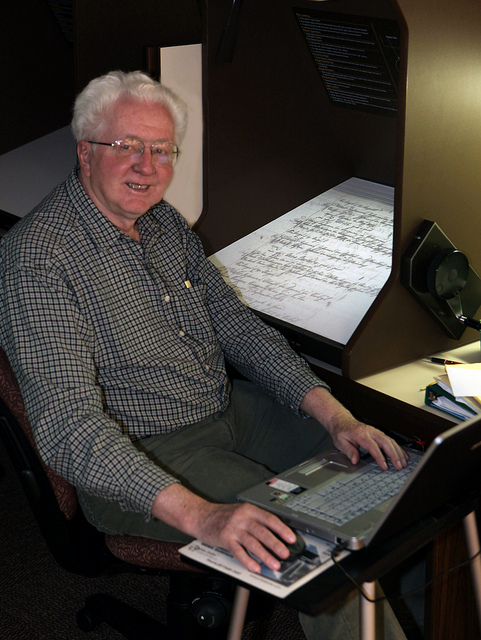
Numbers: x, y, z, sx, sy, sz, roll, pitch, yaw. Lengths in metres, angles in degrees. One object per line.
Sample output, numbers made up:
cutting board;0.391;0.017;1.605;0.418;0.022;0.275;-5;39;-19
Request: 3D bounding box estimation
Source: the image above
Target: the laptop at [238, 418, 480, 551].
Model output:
laptop;0.174;0.204;0.816;0.221;0.144;0.251;20;23;35
